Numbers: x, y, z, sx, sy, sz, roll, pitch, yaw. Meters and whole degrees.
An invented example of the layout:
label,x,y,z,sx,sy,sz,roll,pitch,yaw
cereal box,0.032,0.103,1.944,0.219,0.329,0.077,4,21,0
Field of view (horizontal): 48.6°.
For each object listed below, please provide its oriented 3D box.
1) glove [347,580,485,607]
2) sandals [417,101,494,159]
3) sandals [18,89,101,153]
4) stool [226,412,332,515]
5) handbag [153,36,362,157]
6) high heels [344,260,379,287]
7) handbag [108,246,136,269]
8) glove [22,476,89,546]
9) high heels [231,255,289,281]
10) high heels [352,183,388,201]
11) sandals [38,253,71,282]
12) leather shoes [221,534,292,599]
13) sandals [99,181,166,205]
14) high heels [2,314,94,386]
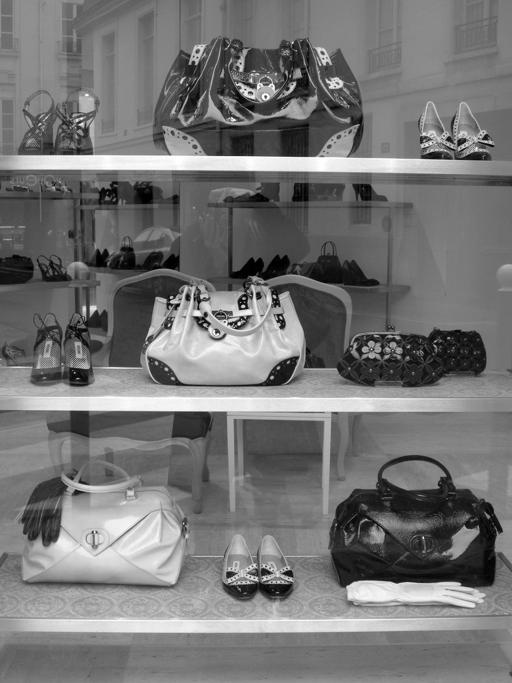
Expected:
label,x,y,z,sx,sy,sz,roll,pitch,yaw
glove,0.375,0.592,1.325,0.231,0.032,0.107,2,3,3
sandals,0.441,-0.516,1.298,0.124,0.067,0.193,-6,39,1
sandals,-0.553,-0.607,1.564,0.239,0.219,0.109,1,6,2
stool,0.038,0.360,2.088,0.456,0.443,0.338,0,-3,0
handbag,-0.006,-0.582,1.419,0.449,0.294,0.345,3,-4,-31
high heels,0.313,-0.206,1.732,0.145,0.099,0.053,1,16,4
handbag,-0.420,-0.263,1.748,0.057,0.055,0.028,3,23,0
glove,-0.517,0.428,1.437,0.104,0.164,0.037,-4,-28,11
high heels,0.030,-0.233,1.817,0.224,0.088,0.070,-1,24,-11
high heels,0.338,-0.453,1.728,0.115,0.037,0.049,5,10,-6
sandals,-0.627,-0.224,1.748,0.100,0.085,0.058,-10,9,3
leather shoes,0.001,0.582,1.452,0.129,0.052,0.191,0,-1,-2
sandals,-0.371,-0.465,1.751,0.232,0.085,0.070,-3,20,-3
high heels,-0.502,0.030,1.486,0.173,0.118,0.298,-1,32,-8
